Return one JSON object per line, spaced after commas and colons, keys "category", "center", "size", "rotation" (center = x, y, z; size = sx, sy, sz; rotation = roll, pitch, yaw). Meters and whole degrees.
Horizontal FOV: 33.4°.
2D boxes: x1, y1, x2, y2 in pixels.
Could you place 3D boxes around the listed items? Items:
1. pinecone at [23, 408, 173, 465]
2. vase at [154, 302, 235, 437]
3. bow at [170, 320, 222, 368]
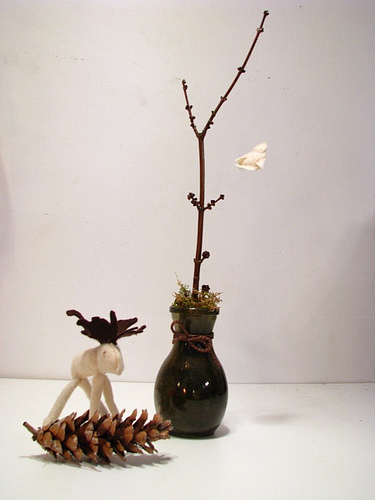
{"category": "pinecone", "center": [-0.203, 0.368, 1.246], "size": [0.320, 0.109, 0.113], "rotation": [-1, -6, -1]}
{"category": "vase", "center": [0.051, 0.374, 1.664], "size": [0.167, 0.309, 0.588], "rotation": [-1, -30, 13]}
{"category": "bow", "center": [0.015, 0.218, 1.483], "size": [0.183, 0.058, 0.040], "rotation": [24, 15, 25]}
